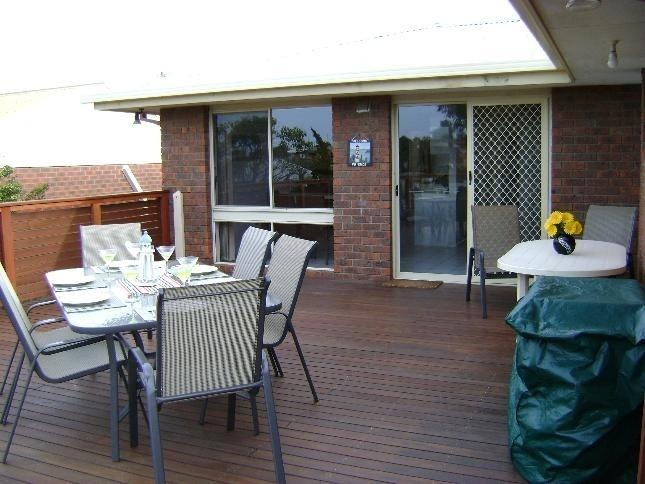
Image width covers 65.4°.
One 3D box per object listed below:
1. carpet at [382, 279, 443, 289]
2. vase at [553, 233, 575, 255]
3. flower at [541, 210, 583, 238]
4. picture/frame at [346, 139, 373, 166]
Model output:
[{"bbox_3d":[1.315,0.603,7.256,0.809,0.045,0.432,2,10,18],"label":"carpet"},{"bbox_3d":[2.223,0.009,4.692,0.208,0.233,0.193,-6,8,17],"label":"vase"},{"bbox_3d":[2.511,-0.190,5.221,0.373,0.314,0.351,-11,15,-31],"label":"flower"},{"bbox_3d":[0.572,-1.336,7.435,0.479,0.424,0.052,2,3,21],"label":"picture/frame"}]
